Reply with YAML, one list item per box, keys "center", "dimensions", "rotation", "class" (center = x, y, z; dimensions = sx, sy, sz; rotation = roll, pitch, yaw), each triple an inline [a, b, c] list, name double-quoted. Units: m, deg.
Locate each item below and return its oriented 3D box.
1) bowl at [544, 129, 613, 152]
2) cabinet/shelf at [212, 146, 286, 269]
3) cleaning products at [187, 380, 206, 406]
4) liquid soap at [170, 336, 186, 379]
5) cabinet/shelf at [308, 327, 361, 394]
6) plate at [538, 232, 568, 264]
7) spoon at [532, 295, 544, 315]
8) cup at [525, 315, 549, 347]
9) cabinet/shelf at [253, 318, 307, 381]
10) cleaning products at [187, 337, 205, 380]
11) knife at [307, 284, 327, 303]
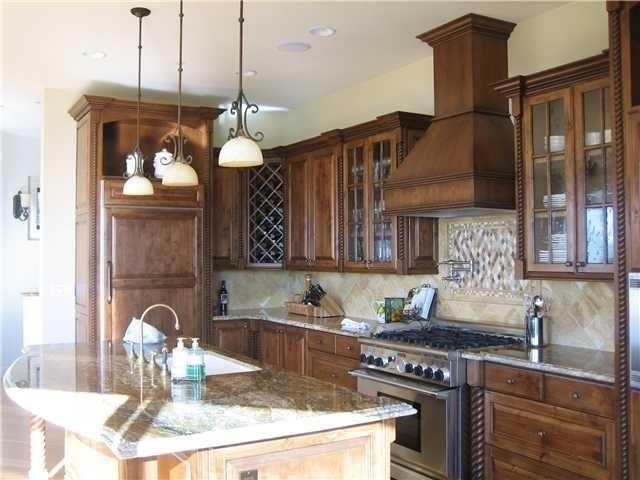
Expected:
- center: [1.693, -0.652, 3.564]
  dimensions: [0.027, 0.122, 0.395]
  rotation: [-1, 1, -41]
  class: "bowl"
- center: [-0.554, -0.359, 6.832]
  dimensions: [0.538, 1.485, 1.510]
  rotation: [4, 3, 40]
  class: "cabinet/shelf"
- center: [-0.642, 0.805, 2.801]
  dimensions: [0.058, 0.103, 0.059]
  rotation: [-1, 2, -36]
  class: "cleaning products"
- center: [-0.753, 0.653, 2.993]
  dimensions: [0.091, 0.228, 0.094]
  rotation: [3, -7, -8]
  class: "liquid soap"
- center: [0.075, 1.192, 5.110]
  dimensions: [0.617, 0.577, 0.275]
  rotation: [21, -30, -30]
  class: "cabinet/shelf"
- center: [1.583, 0.052, 3.671]
  dimensions: [0.067, 0.190, 0.206]
  rotation: [2, -1, -35]
  class: "plate"
- center: [1.555, 0.463, 3.878]
  dimensions: [0.052, 0.164, 0.062]
  rotation: [4, 1, 12]
  class: "spoon"
- center: [1.554, 0.652, 3.929]
  dimensions: [0.117, 0.234, 0.104]
  rotation: [0, 1, 13]
  class: "cup"
- center: [-0.344, 1.012, 5.114]
  dimensions: [0.223, 0.508, 0.538]
  rotation: [4, -5, -37]
  class: "cabinet/shelf"
- center: [-0.687, 0.669, 3.043]
  dimensions: [0.089, 0.197, 0.222]
  rotation: [0, 1, -11]
  class: "cleaning products"
- center: [-0.032, 0.600, 5.998]
  dimensions: [0.147, 0.200, 0.257]
  rotation: [0, 1, -27]
  class: "knife"
